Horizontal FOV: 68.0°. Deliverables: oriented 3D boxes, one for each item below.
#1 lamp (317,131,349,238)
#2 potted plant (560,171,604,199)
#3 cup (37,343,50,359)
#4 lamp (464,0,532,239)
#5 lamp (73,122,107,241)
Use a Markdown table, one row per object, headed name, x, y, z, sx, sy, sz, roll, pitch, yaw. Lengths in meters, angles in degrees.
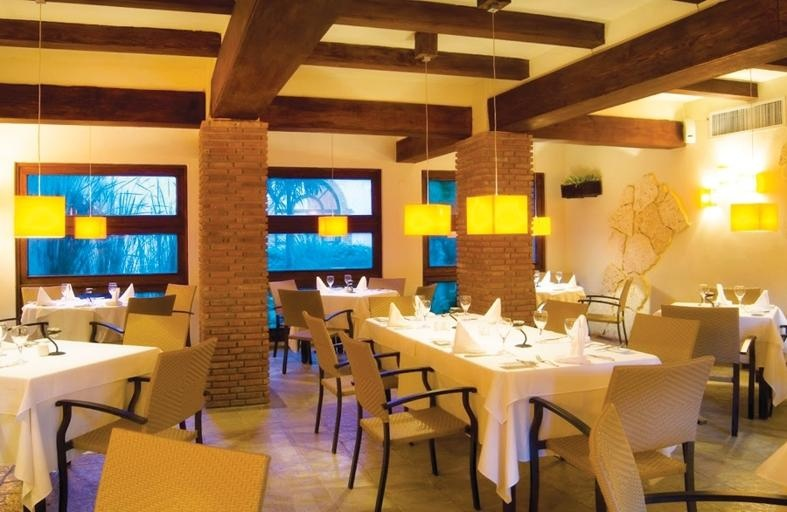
| name | x | y | z | sx | sy | sz | roll | pitch | yaw |
| --- | --- | --- | --- | --- | --- | --- | --- | --- | --- |
| lamp | -1.076 | -1.043 | 10.306 | 0.515 | 1.543 | 0.949 | -2 | 9 | -4 |
| potted plant | 3.694 | -1.347 | 11.381 | 0.521 | 0.480 | 0.736 | -2 | -1 | -12 |
| cup | -3.118 | 0.852 | 5.204 | 0.111 | 0.114 | 0.106 | 1 | 2 | 0 |
| lamp | 1.455 | -1.607 | 7.622 | 0.644 | 2.668 | 3.471 | 1 | 9 | 13 |
| lamp | -4.879 | -1.120 | 9.233 | 0.494 | 1.823 | 0.803 | -5 | 10 | -26 |
